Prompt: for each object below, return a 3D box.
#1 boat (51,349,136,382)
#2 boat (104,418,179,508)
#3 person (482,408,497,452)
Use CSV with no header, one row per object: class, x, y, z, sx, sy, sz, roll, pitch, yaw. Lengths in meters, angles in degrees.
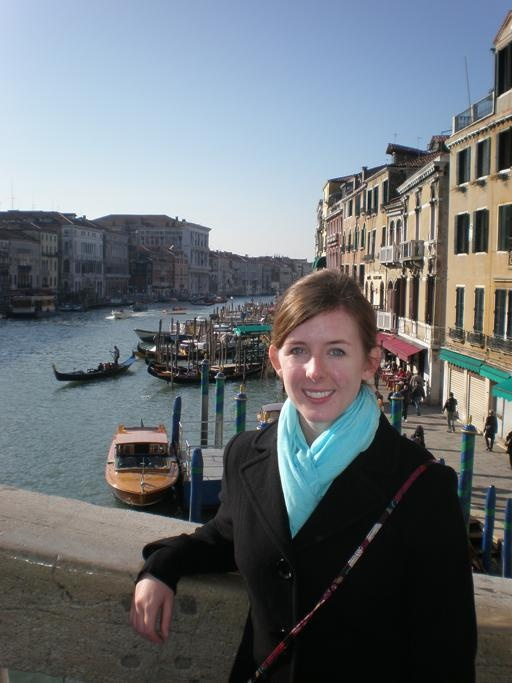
boat,-9.796,1.872,36.917,1.323,0.889,6.680,4,6,21
boat,-2.981,3.201,16.022,1.054,0.861,3.235,-2,5,-7
person,7.058,2.631,18.379,0.349,1.151,0.808,4,6,22
